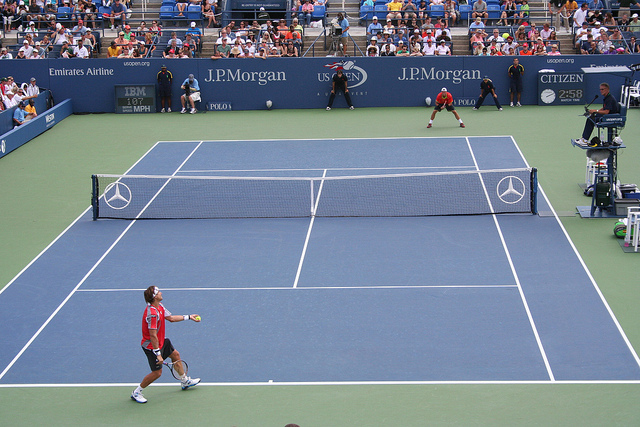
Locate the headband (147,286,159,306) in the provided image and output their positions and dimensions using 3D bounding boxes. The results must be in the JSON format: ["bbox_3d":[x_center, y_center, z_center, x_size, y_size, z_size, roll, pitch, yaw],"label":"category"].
[{"bbox_3d":[-3.229,1.618,14.672,0.172,0.329,0.235,21,5,2],"label":"headband"}]

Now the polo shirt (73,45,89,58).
[{"bbox_3d":[-11.174,-7.610,35.538,0.801,0.703,0.431,0,1,-3],"label":"polo shirt"}]

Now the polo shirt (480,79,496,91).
[{"bbox_3d":[7.333,-5.687,33.059,0.606,0.311,0.757,0,-4,13],"label":"polo shirt"}]

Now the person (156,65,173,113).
[{"bbox_3d":[-6.981,-5.712,34.306,0.749,2.129,0.397,-7,19,-11],"label":"person"}]

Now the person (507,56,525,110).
[{"bbox_3d":[8.669,-5.924,33.669,0.671,2.199,1.002,6,21,26],"label":"person"}]

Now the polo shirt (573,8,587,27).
[{"bbox_3d":[12.698,-9.685,37.014,0.563,0.789,0.891,8,22,30],"label":"polo shirt"}]

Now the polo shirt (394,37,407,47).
[{"bbox_3d":[3.864,-8.327,36.282,0.600,0.288,1.451,-1,20,7],"label":"polo shirt"}]

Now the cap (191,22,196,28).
[{"bbox_3d":[-6.310,-9.440,37.655,0.282,0.173,0.465,2,30,-4],"label":"cap"}]

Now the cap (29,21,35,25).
[{"bbox_3d":[-14.375,-9.647,37.771,0.239,0.170,0.317,0,10,-10],"label":"cap"}]

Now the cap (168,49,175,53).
[{"bbox_3d":[-6.753,-7.531,34.624,0.189,0.138,0.243,-5,19,-5],"label":"cap"}]

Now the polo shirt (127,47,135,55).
[{"bbox_3d":[-8.726,-7.591,34.990,0.333,0.331,0.190,-2,4,-16],"label":"polo shirt"}]

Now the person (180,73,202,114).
[{"bbox_3d":[-5.871,-5.507,34.278,0.912,1.755,0.701,-6,19,-9],"label":"person"}]

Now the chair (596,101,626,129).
[{"bbox_3d":[8.038,-2.759,20.918,0.659,0.609,0.704,1,5,9],"label":"chair"}]

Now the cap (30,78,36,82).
[{"bbox_3d":[-12.408,-5.891,32.745,0.260,0.151,0.394,0,3,-9],"label":"cap"}]

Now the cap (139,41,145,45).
[{"bbox_3d":[-8.374,-8.122,35.628,0.279,0.112,0.407,3,7,-3],"label":"cap"}]

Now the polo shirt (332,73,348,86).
[{"bbox_3d":[0.926,-6.034,33.933,0.769,0.636,0.439,0,9,-1],"label":"polo shirt"}]

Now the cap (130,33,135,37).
[{"bbox_3d":[-8.948,-8.626,36.129,0.225,0.111,0.327,0,9,-2],"label":"cap"}]

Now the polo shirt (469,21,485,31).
[{"bbox_3d":[7.633,-9.236,36.769,0.695,0.375,1.053,2,20,13],"label":"polo shirt"}]

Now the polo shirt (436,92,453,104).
[{"bbox_3d":[5.022,-4.744,30.403,0.674,0.388,0.586,-1,-26,4],"label":"polo shirt"}]

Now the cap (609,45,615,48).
[{"bbox_3d":[13.083,-7.598,33.920,0.232,0.121,0.239,3,3,29],"label":"cap"}]

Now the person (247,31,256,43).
[{"bbox_3d":[-3.227,-8.457,35.866,0.352,0.504,1.006,-4,19,-4],"label":"person"}]

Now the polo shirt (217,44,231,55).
[{"bbox_3d":[-4.459,-7.721,35.171,0.669,0.496,0.351,1,8,1],"label":"polo shirt"}]

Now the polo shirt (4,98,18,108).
[{"bbox_3d":[-12.085,-4.373,29.559,0.215,0.407,0.410,-14,6,33],"label":"polo shirt"}]

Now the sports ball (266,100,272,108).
[{"bbox_3d":[-2.330,-5.119,34.724,0.225,0.333,0.111,1,4,-1],"label":"sports ball"}]

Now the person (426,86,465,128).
[{"bbox_3d":[5.100,-4.370,30.643,1.501,1.804,0.956,-2,25,4],"label":"person"}]

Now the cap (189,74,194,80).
[{"bbox_3d":[-5.754,-6.209,33.894,0.185,0.222,0.191,6,10,28],"label":"cap"}]

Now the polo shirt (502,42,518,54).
[{"bbox_3d":[8.744,-7.750,35.015,0.578,0.531,0.330,3,8,1],"label":"polo shirt"}]

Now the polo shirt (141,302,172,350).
[{"bbox_3d":[-3.211,2.190,14.774,0.577,0.925,0.492,-7,19,-12],"label":"polo shirt"}]

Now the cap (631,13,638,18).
[{"bbox_3d":[15.063,-9.594,36.176,0.238,0.117,0.340,-1,22,12],"label":"cap"}]

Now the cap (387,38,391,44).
[{"bbox_3d":[3.209,-8.114,35.161,0.208,0.233,0.226,4,16,5],"label":"cap"}]

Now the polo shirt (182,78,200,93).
[{"bbox_3d":[-5.784,-5.886,34.148,0.767,0.671,0.398,-11,20,-22],"label":"polo shirt"}]

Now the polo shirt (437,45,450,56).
[{"bbox_3d":[5.744,-7.682,35.259,0.589,0.598,0.337,1,-6,-1],"label":"polo shirt"}]

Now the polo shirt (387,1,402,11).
[{"bbox_3d":[3.907,-10.822,39.187,0.799,0.667,0.436,1,2,2],"label":"polo shirt"}]

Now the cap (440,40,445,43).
[{"bbox_3d":[5.742,-8.157,35.384,0.256,0.109,0.151,-10,20,-19],"label":"cap"}]

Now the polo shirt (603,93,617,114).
[{"bbox_3d":[8.130,-3.054,21.192,0.421,0.774,0.798,0,12,17],"label":"polo shirt"}]

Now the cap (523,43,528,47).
[{"bbox_3d":[9.512,-7.906,35.063,0.200,0.189,0.346,2,20,14],"label":"cap"}]

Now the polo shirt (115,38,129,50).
[{"bbox_3d":[-9.291,-8.088,35.589,0.631,0.440,1.161,-8,20,-14],"label":"polo shirt"}]

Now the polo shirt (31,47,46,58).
[{"bbox_3d":[-13.055,-7.620,35.275,0.559,0.313,0.411,9,12,34],"label":"polo shirt"}]

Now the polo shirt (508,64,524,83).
[{"bbox_3d":[8.642,-6.280,33.415,0.793,1.032,0.382,-2,3,-2],"label":"polo shirt"}]
